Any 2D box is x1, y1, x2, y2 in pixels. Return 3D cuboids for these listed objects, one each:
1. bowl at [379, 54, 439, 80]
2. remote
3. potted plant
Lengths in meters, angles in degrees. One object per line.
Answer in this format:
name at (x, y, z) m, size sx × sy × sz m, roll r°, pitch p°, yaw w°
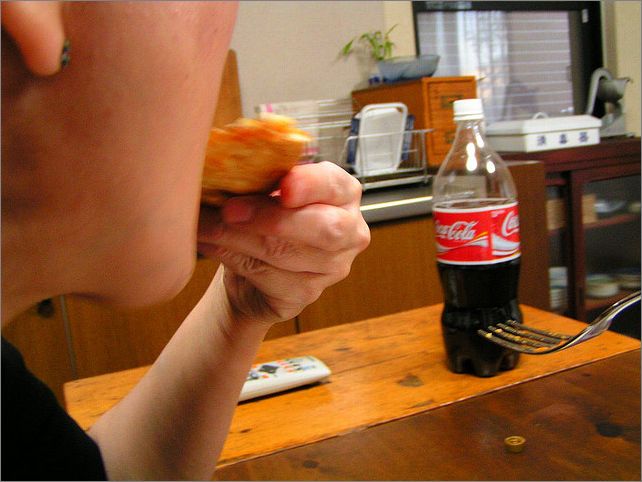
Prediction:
bowl at (0.330, -0.640, 2.009) m, size 0.162 × 0.059 × 0.148 m, roll -9°, pitch 14°, yaw 2°
remote at (-0.053, 0.181, 0.713) m, size 0.088 × 0.014 × 0.049 m, roll -10°, pitch 17°, yaw -8°
potted plant at (0.284, -0.723, 2.146) m, size 0.460 × 0.226 × 0.269 m, roll 8°, pitch 26°, yaw 25°
